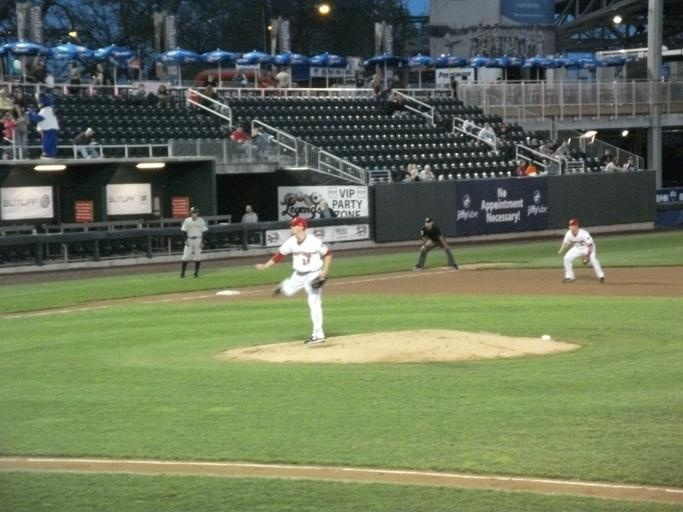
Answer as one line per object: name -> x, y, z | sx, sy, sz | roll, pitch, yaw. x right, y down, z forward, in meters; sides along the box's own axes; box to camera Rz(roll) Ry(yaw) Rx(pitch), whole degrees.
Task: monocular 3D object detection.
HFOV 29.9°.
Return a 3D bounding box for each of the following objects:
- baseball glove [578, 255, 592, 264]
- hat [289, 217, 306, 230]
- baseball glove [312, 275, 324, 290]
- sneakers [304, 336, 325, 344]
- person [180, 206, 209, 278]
baseball glove -> 7.135, 0.171, 37.533 | 0.362, 0.146, 0.500 | -6, 5, 16
hat -> -1.058, -0.763, 29.843 | 0.352, 0.272, 0.451 | -2, 3, 0
baseball glove -> -0.560, 0.626, 30.008 | 0.330, 0.291, 0.371 | -1, 3, 20
sneakers -> -0.680, 1.989, 30.166 | 0.458, 0.183, 0.165 | 2, 3, 1
person -> -4.546, -0.447, 39.558 | 0.875, 2.033, 1.129 | 0, 0, -40
